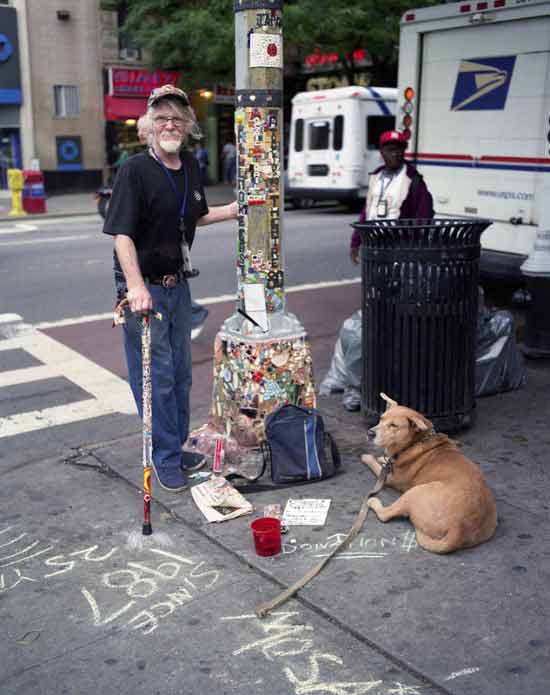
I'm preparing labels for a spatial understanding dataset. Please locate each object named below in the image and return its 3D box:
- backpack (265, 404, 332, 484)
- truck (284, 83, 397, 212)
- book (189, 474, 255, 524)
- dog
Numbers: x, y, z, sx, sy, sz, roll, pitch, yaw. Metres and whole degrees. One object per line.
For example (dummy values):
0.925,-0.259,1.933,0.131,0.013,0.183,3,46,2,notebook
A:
0.103,0.531,4.420,0.479,0.405,0.242,-8,12,-14,backpack
1.160,-4.650,18.596,3.722,1.861,2.084,-19,28,-40,truck
-0.273,0.769,4.074,0.212,0.058,0.205,-7,33,-31,book
0.734,0.589,3.941,0.655,0.436,0.925,-5,28,-16,dog
